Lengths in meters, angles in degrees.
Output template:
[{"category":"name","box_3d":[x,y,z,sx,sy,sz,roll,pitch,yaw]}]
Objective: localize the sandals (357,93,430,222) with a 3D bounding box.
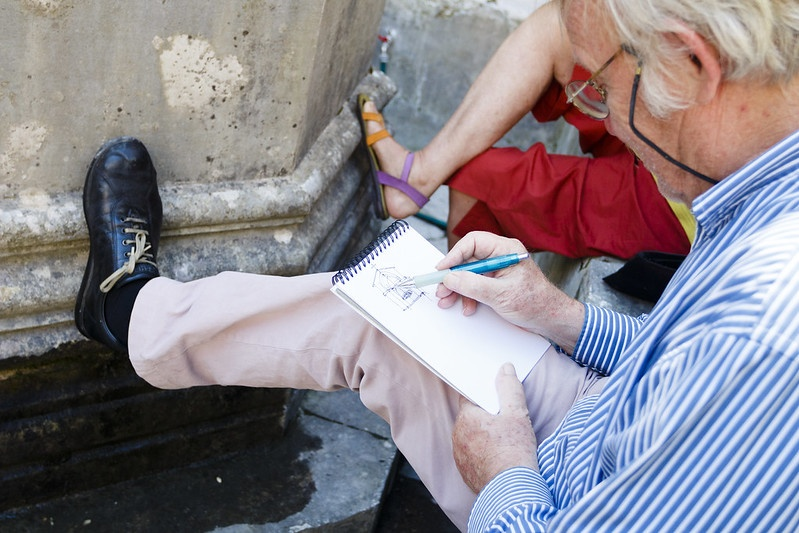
[{"category":"sandals","box_3d":[-0.009,-0.347,2.822,0.175,0.489,0.158,-2,19,20]}]

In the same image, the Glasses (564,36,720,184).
[{"category":"Glasses","box_3d":[0.532,-0.380,1.908,0.273,0.084,0.270,-4,51,-41]}]

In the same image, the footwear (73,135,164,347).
[{"category":"footwear","box_3d":[-0.737,-0.065,2.169,0.195,0.560,0.194,3,8,-29]}]

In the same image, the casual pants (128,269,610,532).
[{"category":"casual pants","box_3d":[-0.138,0.135,1.996,0.855,0.262,0.692,21,19,-6]}]
